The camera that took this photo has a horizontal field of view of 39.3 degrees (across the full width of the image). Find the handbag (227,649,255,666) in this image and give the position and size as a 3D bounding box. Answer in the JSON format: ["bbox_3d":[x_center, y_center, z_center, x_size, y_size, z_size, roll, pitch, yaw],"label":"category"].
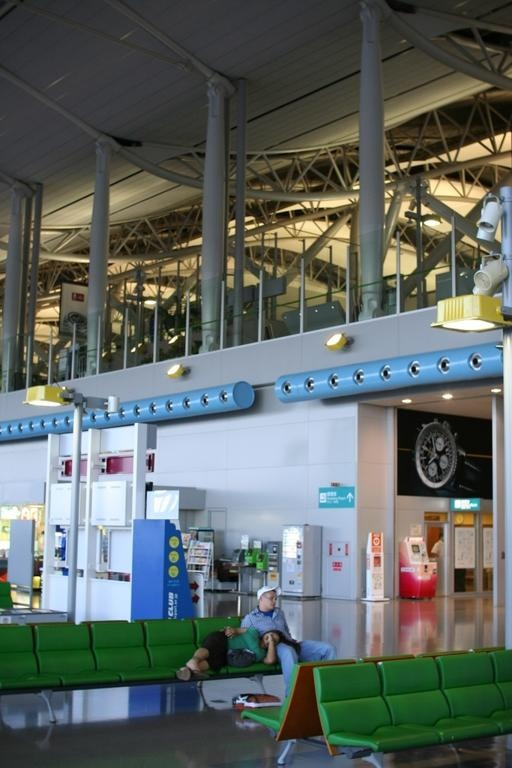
[{"bbox_3d":[-0.136,2.405,6.299,0.151,0.064,0.166,1,-7,9],"label":"handbag"}]

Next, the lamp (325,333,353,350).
[{"bbox_3d":[1.684,-0.897,14.892,0.376,0.328,0.574,13,-13,-34],"label":"lamp"}]

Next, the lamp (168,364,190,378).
[{"bbox_3d":[-2.042,-0.352,18.545,0.399,0.340,0.700,13,-13,-34],"label":"lamp"}]

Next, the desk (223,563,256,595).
[{"bbox_3d":[-0.400,4.791,17.733,0.569,0.767,0.834,9,-11,-41],"label":"desk"}]

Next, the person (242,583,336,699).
[{"bbox_3d":[0.296,2.266,6.322,0.812,0.912,0.576,-18,-15,39],"label":"person"}]
